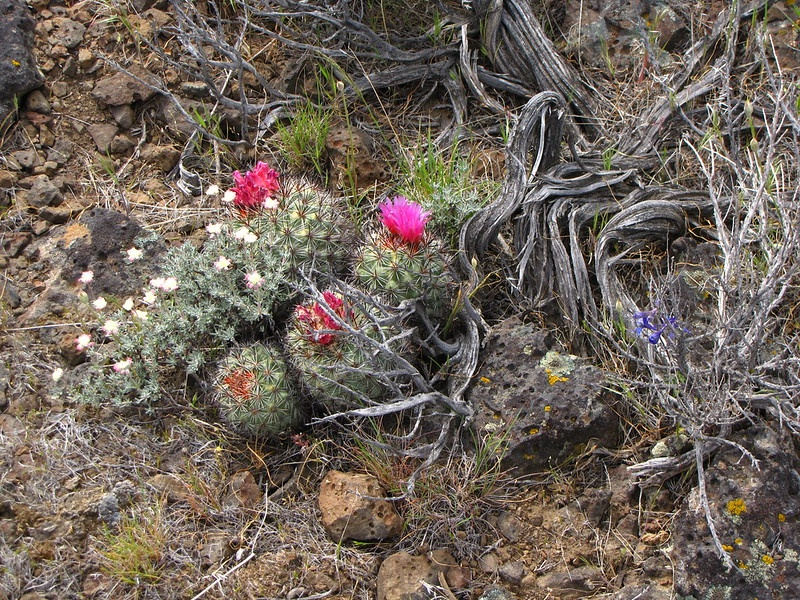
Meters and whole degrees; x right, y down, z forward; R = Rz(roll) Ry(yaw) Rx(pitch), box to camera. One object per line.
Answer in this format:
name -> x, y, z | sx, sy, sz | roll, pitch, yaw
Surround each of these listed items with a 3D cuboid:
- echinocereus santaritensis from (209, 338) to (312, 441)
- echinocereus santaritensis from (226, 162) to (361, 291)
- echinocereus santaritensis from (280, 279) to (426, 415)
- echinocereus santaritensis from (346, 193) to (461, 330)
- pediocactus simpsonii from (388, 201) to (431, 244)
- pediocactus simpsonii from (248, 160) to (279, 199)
echinocereus santaritensis -> -0.676, 0.441, 4.020 | 0.400, 0.449, 0.495 | -9, 112, 23
echinocereus santaritensis -> -0.521, -0.392, 4.142 | 0.590, 0.619, 0.618 | 27, 103, 34
echinocereus santaritensis -> -0.224, 0.266, 3.867 | 0.535, 0.569, 0.620 | -27, 94, 6
echinocereus santaritensis -> 0.005, -0.206, 3.897 | 0.496, 0.539, 0.715 | -1, 95, -6
pediocactus simpsonii -> 0.044, -0.384, 3.915 | 0.222, 0.227, 0.252 | -8, 94, -30
pediocactus simpsonii -> -0.683, -0.623, 4.098 | 0.138, 0.098, 0.184 | -25, 85, 34
